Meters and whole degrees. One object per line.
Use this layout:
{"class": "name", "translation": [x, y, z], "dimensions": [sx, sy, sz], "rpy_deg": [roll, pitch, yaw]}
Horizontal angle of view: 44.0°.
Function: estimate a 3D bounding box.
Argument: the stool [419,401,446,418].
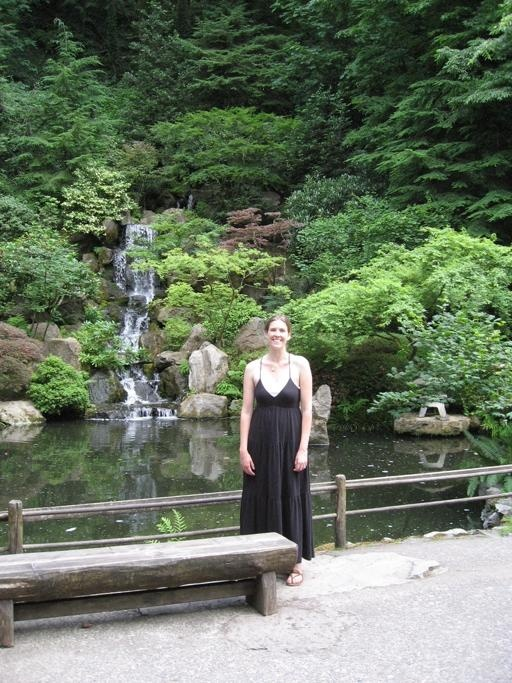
{"class": "stool", "translation": [3.049, 1.143, 10.733], "dimensions": [0.394, 0.218, 0.389], "rpy_deg": [-7, -13, 40]}
